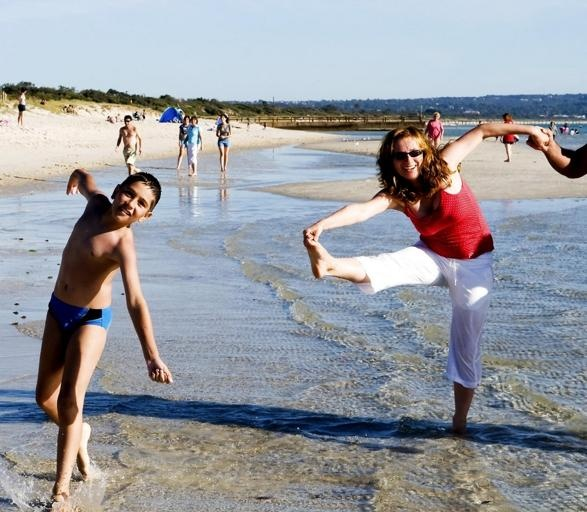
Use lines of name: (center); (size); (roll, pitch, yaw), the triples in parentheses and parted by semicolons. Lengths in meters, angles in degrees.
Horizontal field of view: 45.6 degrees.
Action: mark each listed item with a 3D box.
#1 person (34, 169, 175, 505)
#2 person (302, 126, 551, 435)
person: (-1.207, 0.457, 4.223); (0.867, 1.912, 1.190); (-2, 13, -9)
person: (0.879, 0.214, 4.746); (1.810, 2.238, 0.523); (-9, 16, -36)
